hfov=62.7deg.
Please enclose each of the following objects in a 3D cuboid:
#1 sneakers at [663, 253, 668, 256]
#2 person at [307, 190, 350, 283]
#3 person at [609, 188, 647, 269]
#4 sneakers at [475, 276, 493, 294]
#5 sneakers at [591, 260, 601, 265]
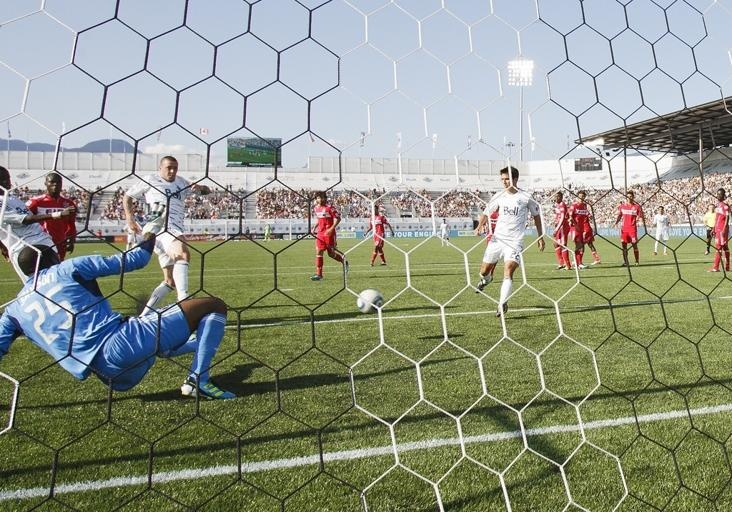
[{"bbox_3d":[7.298,-0.036,14.590,0.048,0.069,0.161,-4,-6,19],"label":"sneakers"},{"bbox_3d":[-0.491,-0.280,8.153,0.685,1.182,0.419,-6,8,-42],"label":"person"},{"bbox_3d":[4.600,-0.463,10.411,0.464,1.285,0.482,0,1,31],"label":"person"},{"bbox_3d":[1.514,0.375,7.591,0.111,0.261,0.086,22,-4,-19],"label":"sneakers"},{"bbox_3d":[4.677,0.139,12.157,0.172,0.076,0.057,-9,6,-18],"label":"sneakers"}]
